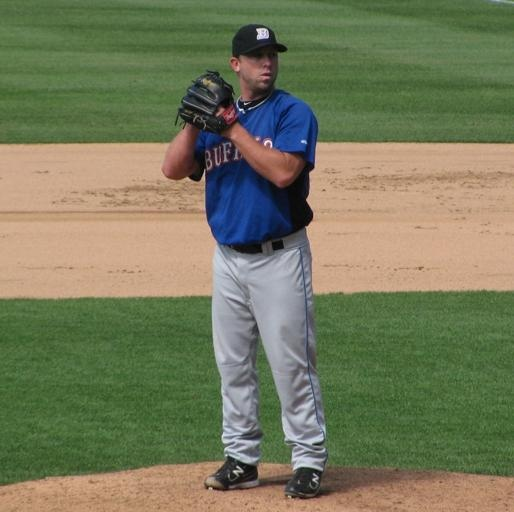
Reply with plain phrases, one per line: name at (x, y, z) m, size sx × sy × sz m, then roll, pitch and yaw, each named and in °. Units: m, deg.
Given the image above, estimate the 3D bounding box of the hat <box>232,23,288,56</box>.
hat at (0.064, -2.503, 16.716) m, size 0.509 × 0.385 × 0.705 m, roll 0°, pitch -5°, yaw -15°

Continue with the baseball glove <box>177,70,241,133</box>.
baseball glove at (-0.536, -1.761, 16.509) m, size 0.416 × 0.539 × 0.679 m, roll 37°, pitch 32°, yaw 16°
